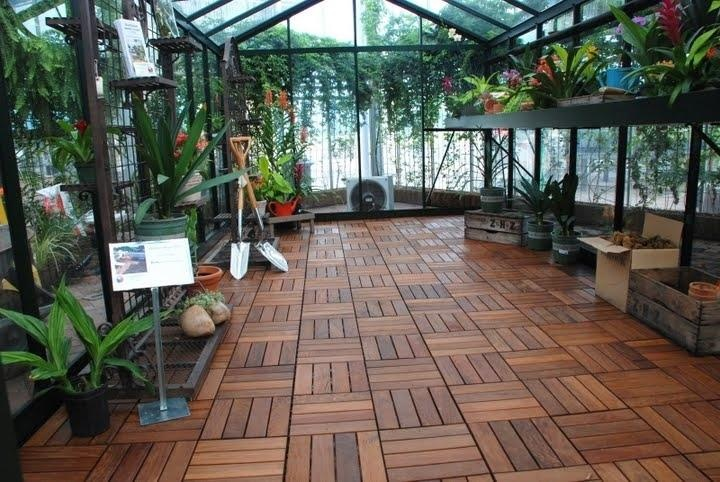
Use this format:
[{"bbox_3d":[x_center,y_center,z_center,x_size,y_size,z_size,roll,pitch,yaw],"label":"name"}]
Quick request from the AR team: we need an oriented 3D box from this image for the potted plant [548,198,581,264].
[{"bbox_3d":[2.114,-0.118,4.816,0.291,0.714,0.222,1,15,18],"label":"potted plant"}]

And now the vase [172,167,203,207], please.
[{"bbox_3d":[-1.310,-0.389,3.621,0.312,0.290,0.300,0,1,-9],"label":"vase"}]

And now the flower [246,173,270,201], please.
[{"bbox_3d":[-1.355,-0.693,6.242,0.309,0.297,0.277,0,0,-10],"label":"flower"}]

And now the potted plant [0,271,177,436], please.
[{"bbox_3d":[-1.555,0.569,2.688,0.920,0.471,0.840,3,0,-14],"label":"potted plant"}]

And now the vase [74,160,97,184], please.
[{"bbox_3d":[-1.653,-0.402,2.816,0.141,0.113,0.140,5,8,30],"label":"vase"}]

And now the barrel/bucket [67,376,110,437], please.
[{"bbox_3d":[-1.471,0.925,2.650,0.258,0.252,0.280,-2,6,0],"label":"barrel/bucket"}]

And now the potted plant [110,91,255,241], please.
[{"bbox_3d":[-1.255,-0.508,3.227,0.883,0.998,1.003,-9,39,-36],"label":"potted plant"}]

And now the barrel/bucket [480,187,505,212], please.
[{"bbox_3d":[1.747,-0.541,6.272,0.338,0.256,0.309,-1,6,0],"label":"barrel/bucket"}]

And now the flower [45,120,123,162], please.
[{"bbox_3d":[-1.672,-0.567,2.829,0.310,0.162,0.300,-3,3,-11],"label":"flower"}]

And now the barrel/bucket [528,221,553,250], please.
[{"bbox_3d":[2.034,-0.044,5.291,0.316,0.306,0.310,0,5,0],"label":"barrel/bucket"}]

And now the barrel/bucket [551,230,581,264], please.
[{"bbox_3d":[2.102,0.075,4.790,0.319,0.315,0.321,0,2,0],"label":"barrel/bucket"}]

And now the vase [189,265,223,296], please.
[{"bbox_3d":[-1.320,0.331,3.989,0.242,0.161,0.238,6,11,29],"label":"vase"}]

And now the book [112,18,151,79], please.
[{"bbox_3d":[-1.412,-1.173,2.927,0.176,0.342,0.216,-10,15,-27],"label":"book"}]

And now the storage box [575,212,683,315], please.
[{"bbox_3d":[2.069,0.149,4.074,0.864,1.006,0.720,0,12,-2],"label":"storage box"}]

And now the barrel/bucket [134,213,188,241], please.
[{"bbox_3d":[-1.287,-0.094,3.017,0.207,0.137,0.202,1,4,0],"label":"barrel/bucket"}]
